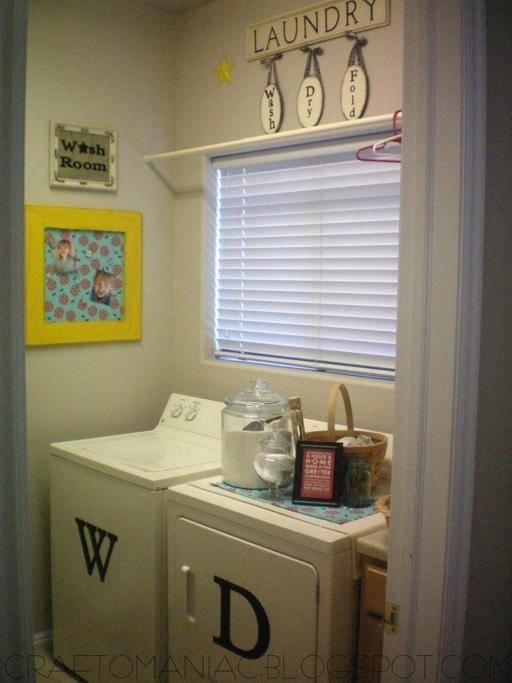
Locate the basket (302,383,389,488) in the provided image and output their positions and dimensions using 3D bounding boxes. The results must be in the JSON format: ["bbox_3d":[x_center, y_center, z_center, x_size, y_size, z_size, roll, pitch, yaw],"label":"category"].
[{"bbox_3d":[0.234,0.267,1.624,0.248,0.360,0.274,-9,-1,3],"label":"basket"}]

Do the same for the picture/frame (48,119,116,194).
[{"bbox_3d":[-0.703,-0.748,2.258,0.022,0.292,0.300,5,4,43],"label":"picture/frame"}]

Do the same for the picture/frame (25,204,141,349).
[{"bbox_3d":[-0.717,-0.268,2.291,0.539,0.698,0.045,-1,2,-41],"label":"picture/frame"}]
